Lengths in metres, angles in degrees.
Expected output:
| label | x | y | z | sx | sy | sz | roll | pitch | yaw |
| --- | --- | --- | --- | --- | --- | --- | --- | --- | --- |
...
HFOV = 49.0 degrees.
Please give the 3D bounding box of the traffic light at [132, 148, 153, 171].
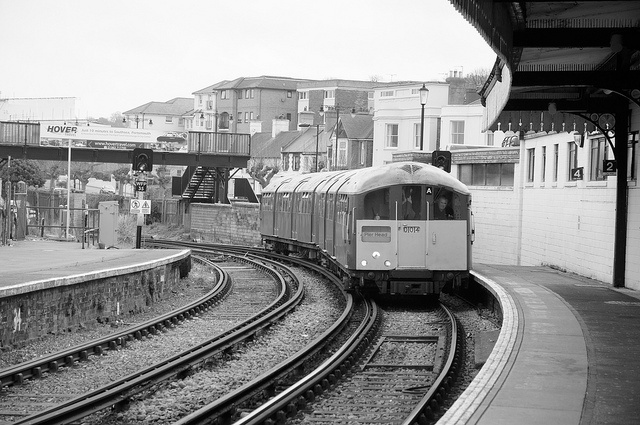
| label | x | y | z | sx | sy | sz | roll | pitch | yaw |
| --- | --- | --- | --- | --- | --- | --- | --- | --- | --- |
| traffic light | -7.035 | -2.073 | 27.616 | 0.742 | 0.929 | 0.841 | -1 | 5 | -18 |
